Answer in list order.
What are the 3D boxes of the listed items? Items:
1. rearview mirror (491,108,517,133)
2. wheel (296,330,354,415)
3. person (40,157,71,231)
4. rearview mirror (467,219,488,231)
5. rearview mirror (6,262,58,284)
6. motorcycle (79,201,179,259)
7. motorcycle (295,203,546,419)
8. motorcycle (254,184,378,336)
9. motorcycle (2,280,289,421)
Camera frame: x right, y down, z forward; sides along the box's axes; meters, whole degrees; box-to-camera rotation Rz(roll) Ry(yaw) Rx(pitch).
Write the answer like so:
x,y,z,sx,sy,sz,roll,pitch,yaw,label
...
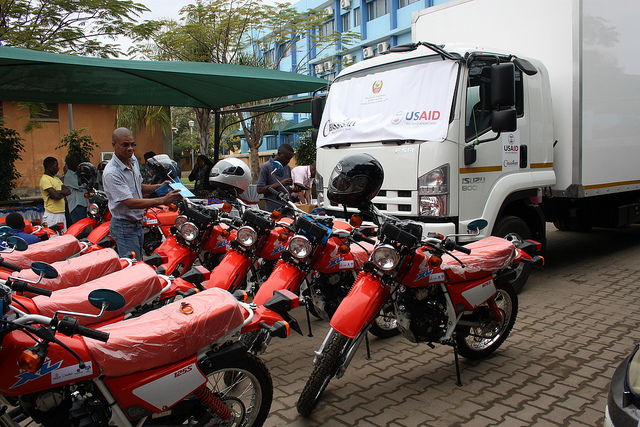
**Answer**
x,y,z,sx,sy,sz,roll,pitch,yaw,label
2.640,-1.334,6.309,0.285,0.335,0.416,8,14,44,rearview mirror
0.066,1.627,4.421,0.176,0.669,0.675,33,34,12,wheel
-5.847,-0.373,9.819,0.600,1.698,1.232,-8,12,-31,person
2.301,0.174,6.449,0.418,0.147,0.045,-8,12,-34,rearview mirror
-2.353,0.497,3.632,0.195,0.153,0.298,31,35,27,rearview mirror
-2.993,0.332,7.123,1.916,1.030,0.959,-3,7,-39,motorcycle
1.074,0.794,5.202,2.893,1.731,1.553,-6,7,-29,motorcycle
-0.113,0.535,5.151,1.100,1.105,1.730,28,12,28,motorcycle
-1.268,0.856,3.718,2.010,1.272,1.269,6,2,-25,motorcycle
